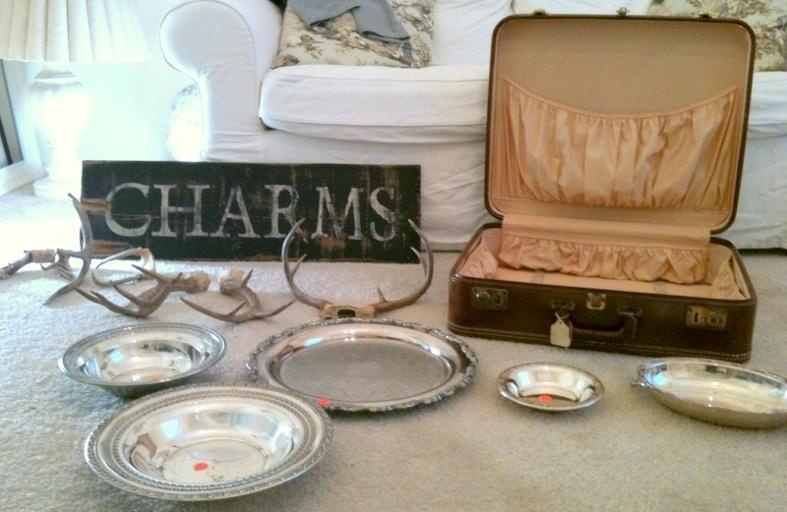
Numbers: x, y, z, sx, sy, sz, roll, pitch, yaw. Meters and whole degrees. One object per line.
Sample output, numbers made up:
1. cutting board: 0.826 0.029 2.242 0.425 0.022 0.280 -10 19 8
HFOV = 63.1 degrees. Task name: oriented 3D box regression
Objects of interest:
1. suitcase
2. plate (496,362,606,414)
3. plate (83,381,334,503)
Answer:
1. suitcase: 0.772 -0.249 2.343 1.162 1.054 0.868 5 35 11
2. plate: 0.448 0.392 1.868 0.294 0.037 0.299 11 18 43
3. plate: -0.457 0.475 1.637 0.599 0.134 0.372 -5 23 -7
